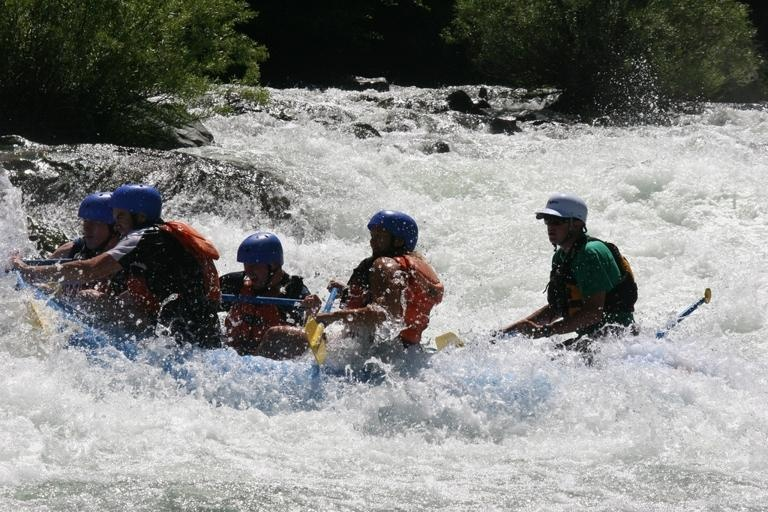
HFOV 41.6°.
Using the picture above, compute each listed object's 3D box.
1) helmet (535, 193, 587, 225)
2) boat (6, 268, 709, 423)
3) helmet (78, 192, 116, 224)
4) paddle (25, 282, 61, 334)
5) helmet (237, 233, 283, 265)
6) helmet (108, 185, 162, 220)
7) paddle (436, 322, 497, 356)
[{"bbox_3d":[2.101,-0.531,11.813,0.495,0.220,0.355,15,0,-12],"label":"helmet"},{"bbox_3d":[-0.482,1.038,11.201,5.840,1.122,0.930,8,1,-2],"label":"boat"},{"bbox_3d":[-3.351,-0.591,11.840,0.380,0.240,0.421,17,16,39],"label":"helmet"},{"bbox_3d":[-3.737,0.562,11.046,0.376,0.414,0.123,-9,-20,-46],"label":"paddle"},{"bbox_3d":[-1.435,-0.076,11.878,0.486,0.356,0.351,-17,17,-15],"label":"helmet"},{"bbox_3d":[-2.770,-0.633,11.284,0.517,0.354,0.360,-4,19,-15],"label":"helmet"},{"bbox_3d":[0.899,0.934,11.368,0.832,0.235,0.119,-1,-26,-31],"label":"paddle"}]
